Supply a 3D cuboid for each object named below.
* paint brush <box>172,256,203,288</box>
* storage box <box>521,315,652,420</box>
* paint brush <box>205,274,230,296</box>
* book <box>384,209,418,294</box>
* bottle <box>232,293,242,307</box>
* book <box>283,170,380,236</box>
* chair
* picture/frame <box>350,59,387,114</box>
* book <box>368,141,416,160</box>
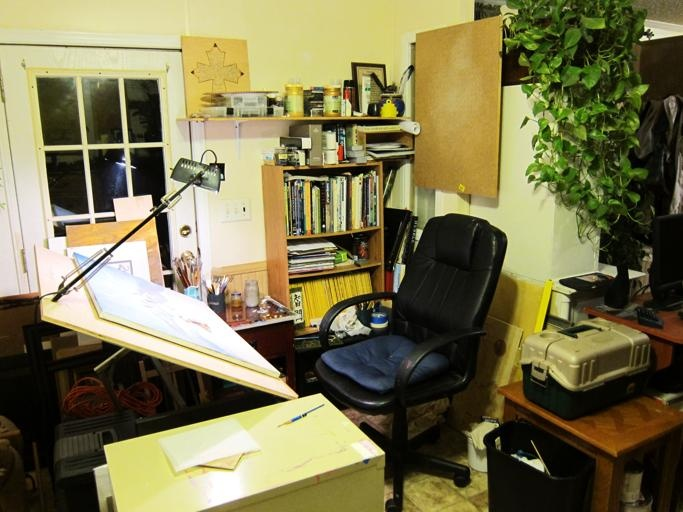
[{"bbox_3d":[-0.986,0.101,3.368,0.153,0.291,0.095,-8,6,-13],"label":"paint brush"},{"bbox_3d":[1.159,0.511,2.519,0.592,0.352,0.398,-6,9,-27],"label":"storage box"},{"bbox_3d":[-0.774,0.204,3.366,0.106,0.146,0.052,6,-14,27],"label":"paint brush"},{"bbox_3d":[0.400,-0.065,3.823,0.124,0.478,0.507,5,31,-10],"label":"book"},{"bbox_3d":[-0.676,0.284,3.428,0.074,0.081,0.076,1,5,9],"label":"bottle"},{"bbox_3d":[-0.068,-0.337,3.525,0.699,0.474,0.396,-4,10,-27],"label":"book"},{"bbox_3d":[0.363,0.551,2.981,0.921,1.467,0.790,-13,16,-36],"label":"chair"},{"bbox_3d":[0.215,-1.205,3.820,0.320,0.352,0.099,-13,16,-37],"label":"picture/frame"},{"bbox_3d":[0.336,-0.725,3.692,0.351,0.105,0.106,-7,14,-19],"label":"book"}]
